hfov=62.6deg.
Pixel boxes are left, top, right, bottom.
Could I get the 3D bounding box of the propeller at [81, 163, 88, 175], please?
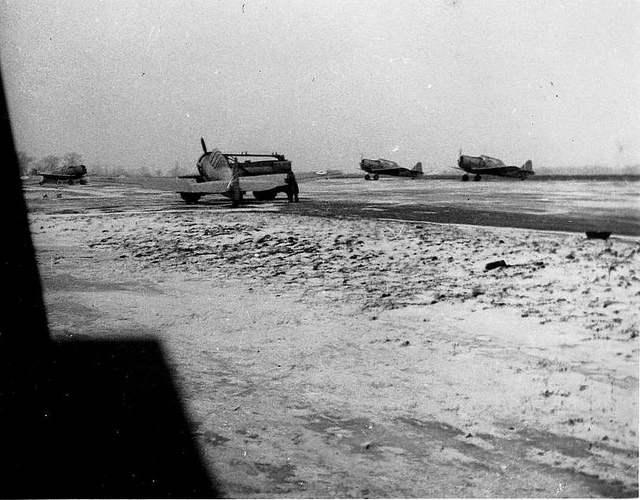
[{"bbox_3d":[-2.309,-0.796,5.126,0.047,0.086,0.089,-5,10,-25],"label":"propeller"}]
